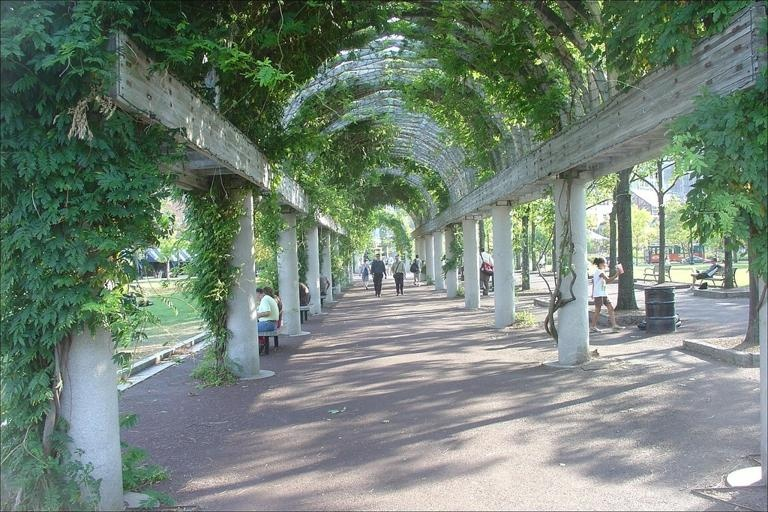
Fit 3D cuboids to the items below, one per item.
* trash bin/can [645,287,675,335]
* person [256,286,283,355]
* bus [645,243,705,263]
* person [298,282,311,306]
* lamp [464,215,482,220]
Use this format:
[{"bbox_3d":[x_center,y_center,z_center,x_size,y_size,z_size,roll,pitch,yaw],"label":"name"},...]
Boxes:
[{"bbox_3d":[6.536,1.269,14.137,0.642,1.105,0.646,-4,-4,23],"label":"trash bin/can"},{"bbox_3d":[-2.809,1.442,13.895,0.927,1.507,1.137,-2,7,-6],"label":"person"},{"bbox_3d":[29.993,-0.277,61.590,6.069,2.092,2.026,-2,3,-5],"label":"bus"},{"bbox_3d":[-2.591,1.307,19.114,0.495,0.653,0.707,2,-16,-11],"label":"person"},{"bbox_3d":[3.402,-1.483,22.926,0.616,0.192,0.783,-3,-4,5],"label":"lamp"}]
